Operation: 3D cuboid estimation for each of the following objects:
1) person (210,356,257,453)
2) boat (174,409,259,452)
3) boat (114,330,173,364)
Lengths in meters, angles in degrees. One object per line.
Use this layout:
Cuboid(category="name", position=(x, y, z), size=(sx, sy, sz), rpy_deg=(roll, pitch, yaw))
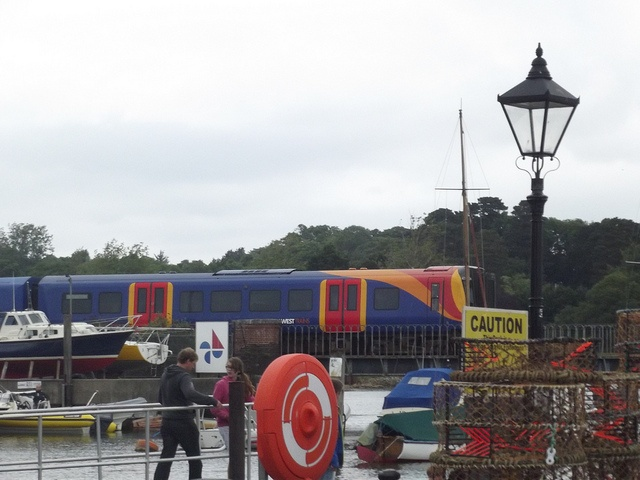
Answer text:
Cuboid(category="person", position=(-2.184, 4.733, 42.555), size=(1.331, 3.313, 1.122), rpy_deg=(-3, -2, -13))
Cuboid(category="boat", position=(-3.261, 5.871, 51.318), size=(1.855, 1.426, 2.727), rpy_deg=(4, -7, -37))
Cuboid(category="boat", position=(-6.721, 4.281, 63.905), size=(1.638, 1.421, 1.555), rpy_deg=(-2, 2, 24))
